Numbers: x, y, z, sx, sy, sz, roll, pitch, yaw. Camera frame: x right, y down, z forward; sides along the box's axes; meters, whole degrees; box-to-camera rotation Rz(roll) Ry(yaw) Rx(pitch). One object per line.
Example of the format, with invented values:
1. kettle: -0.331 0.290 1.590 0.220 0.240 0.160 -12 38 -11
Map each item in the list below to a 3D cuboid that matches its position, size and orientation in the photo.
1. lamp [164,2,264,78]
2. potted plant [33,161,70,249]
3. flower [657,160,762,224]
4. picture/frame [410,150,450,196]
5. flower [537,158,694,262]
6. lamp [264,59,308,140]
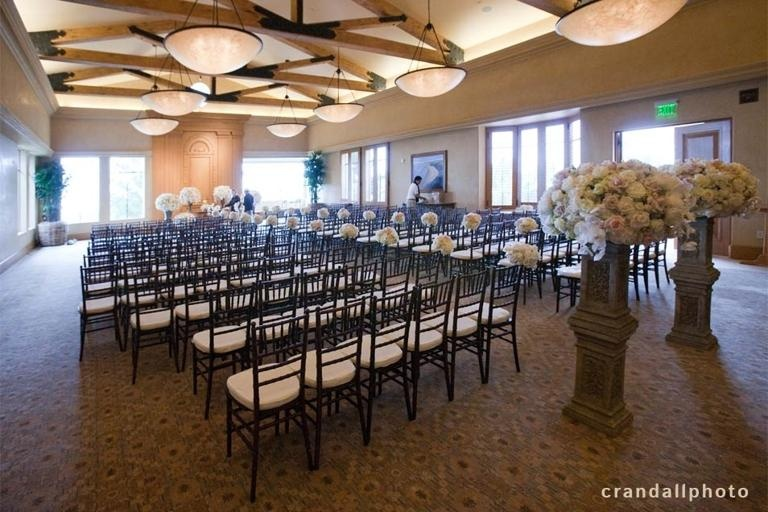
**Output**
1. lamp: -2.347 -2.930 7.055 1.026 1.029 1.008 -2 -8 -1
2. potted plant: -9.973 -1.604 14.798 0.869 2.422 1.868 -6 10 -32
3. flower: 4.025 -0.834 5.923 1.204 0.423 0.960 -1 4 5
4. picture/frame: 1.340 -2.537 14.939 1.534 1.251 0.109 -12 17 -40
5. flower: 2.276 -0.502 4.868 1.356 0.878 0.480 0 8 8
6. lamp: -2.552 -3.891 12.963 0.965 1.446 0.953 -1 27 -8
